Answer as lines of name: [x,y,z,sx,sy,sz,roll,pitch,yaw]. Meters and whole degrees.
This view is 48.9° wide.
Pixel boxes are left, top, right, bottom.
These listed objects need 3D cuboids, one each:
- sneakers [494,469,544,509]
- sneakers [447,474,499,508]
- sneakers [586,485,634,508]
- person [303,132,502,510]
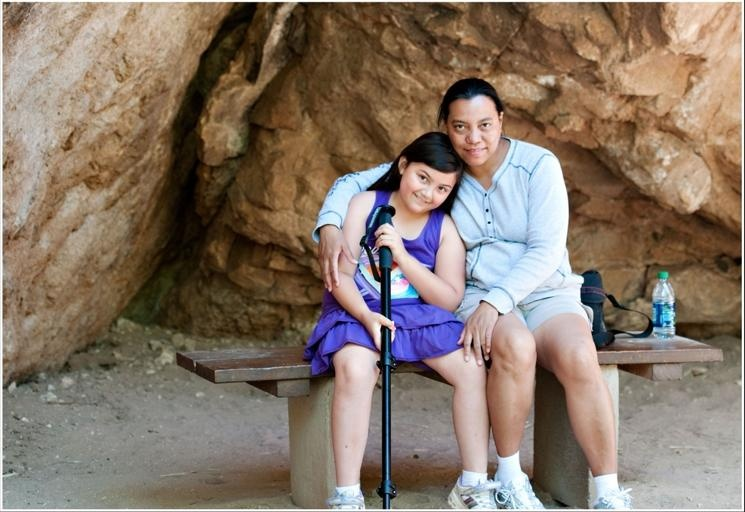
sneakers: [0.755,1.243,4.231,0.166,0.232,0.093,-14,-47,-14]
sneakers: [0.525,1.248,4.242,0.245,0.183,0.129,0,8,5]
sneakers: [1.223,1.245,4.180,0.250,0.107,0.121,-9,-2,27]
person: [0.131,0.331,4.412,1.000,1.966,0.891,-1,8,-6]
